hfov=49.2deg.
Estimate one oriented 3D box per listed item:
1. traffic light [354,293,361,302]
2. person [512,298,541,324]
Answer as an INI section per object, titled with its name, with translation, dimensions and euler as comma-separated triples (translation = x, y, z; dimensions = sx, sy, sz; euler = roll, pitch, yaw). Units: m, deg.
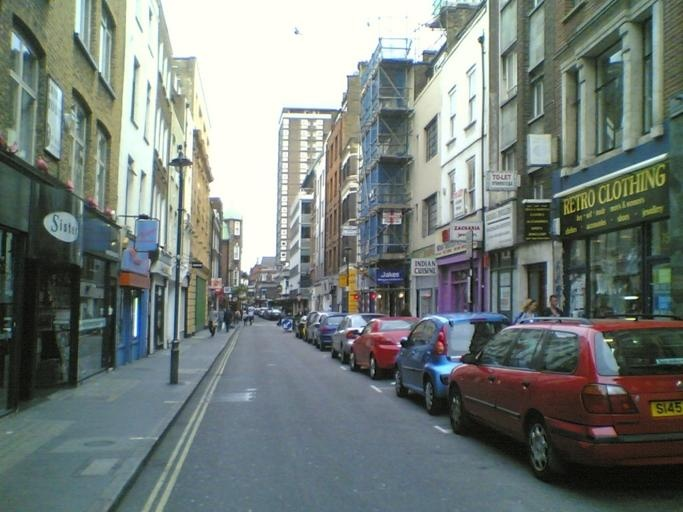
[traffic light]
translation = 1.127, 2.851, 52.349
dimensions = 0.370, 0.447, 0.429
euler = -3, -4, 5
[person]
translation = 4.713, 1.354, 18.864
dimensions = 0.437, 0.814, 0.285
euler = 19, -14, -18
